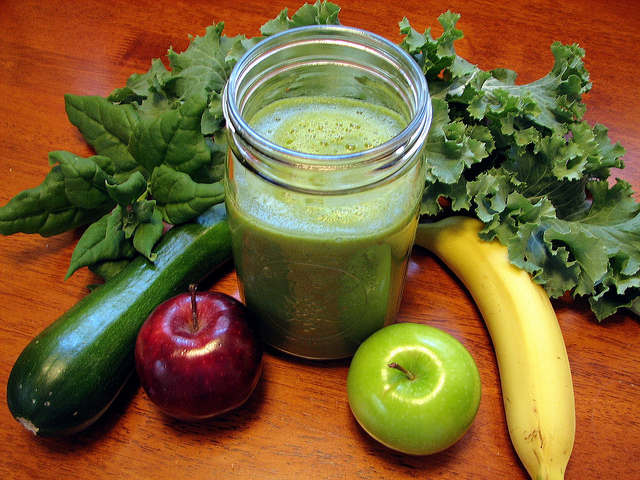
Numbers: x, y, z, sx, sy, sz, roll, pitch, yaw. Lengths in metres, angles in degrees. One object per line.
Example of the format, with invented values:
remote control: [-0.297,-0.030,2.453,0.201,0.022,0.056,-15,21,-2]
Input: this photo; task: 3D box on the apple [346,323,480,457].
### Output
apple: [0.129,0.198,0.806,0.167,0.166,0.174,0,51,9]

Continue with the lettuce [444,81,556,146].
lettuce: [0.307,-0.217,0.992,0.154,0.113,0.099,-7,41,-13]

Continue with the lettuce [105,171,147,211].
lettuce: [-0.298,-0.077,0.892,0.042,0.060,0.049,-2,34,-6]

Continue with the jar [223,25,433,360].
jar: [0.007,-0.056,0.780,0.250,0.403,0.259,1,52,-1]

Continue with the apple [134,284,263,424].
apple: [-0.170,0.168,0.814,0.137,0.123,0.170,14,30,21]
